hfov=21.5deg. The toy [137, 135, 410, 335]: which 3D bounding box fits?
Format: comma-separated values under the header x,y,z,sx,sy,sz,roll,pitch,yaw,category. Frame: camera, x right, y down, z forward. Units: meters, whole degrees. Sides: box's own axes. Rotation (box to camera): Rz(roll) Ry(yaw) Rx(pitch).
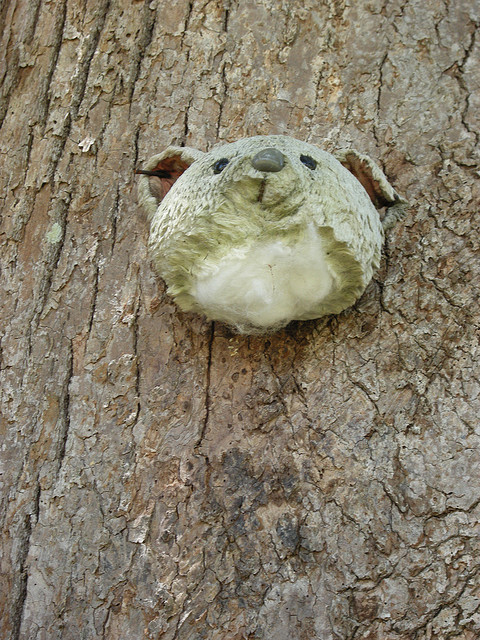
x,y,z,sx,sy,sz,roll,pitch,yaw,category
0.095,-0.323,4.288,0.987,0.634,0.720,2,47,8,toy
